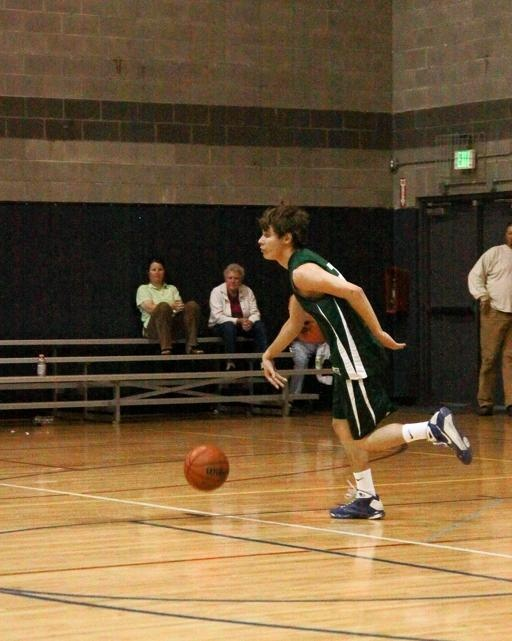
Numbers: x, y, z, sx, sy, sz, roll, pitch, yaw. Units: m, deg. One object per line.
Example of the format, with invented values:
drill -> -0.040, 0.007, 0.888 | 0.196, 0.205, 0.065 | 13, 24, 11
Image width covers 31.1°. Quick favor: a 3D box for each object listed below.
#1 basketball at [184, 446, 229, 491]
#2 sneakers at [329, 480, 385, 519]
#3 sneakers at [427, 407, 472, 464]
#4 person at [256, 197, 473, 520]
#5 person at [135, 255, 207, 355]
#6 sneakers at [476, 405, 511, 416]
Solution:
basketball -> -0.203, 0.604, 3.733 | 0.171, 0.187, 0.172 | -1, -2, -5
sneakers -> 0.400, 0.718, 3.600 | 0.265, 0.165, 0.087 | 1, -7, 13
sneakers -> 0.725, 0.422, 3.402 | 0.127, 0.210, 0.174 | -3, -2, 41
person -> 0.368, 0.150, 3.518 | 0.599, 1.208, 0.616 | -1, -2, -25
person -> -0.767, -0.132, 8.309 | 0.533, 0.869, 0.752 | -1, -2, -21
sneakers -> 2.155, 0.811, 8.279 | 0.331, 0.130, 0.106 | 0, -2, -7
